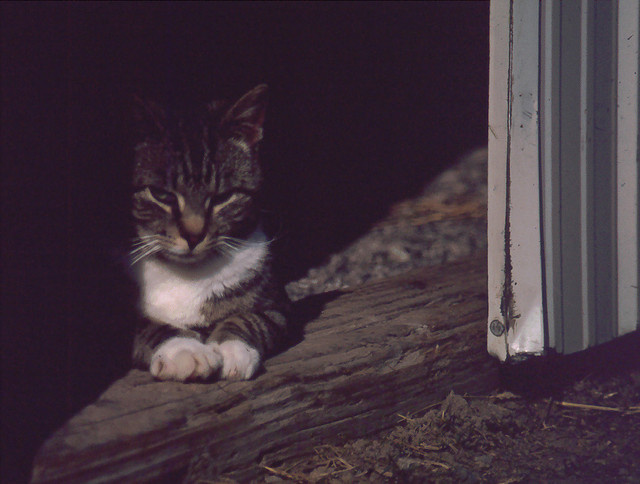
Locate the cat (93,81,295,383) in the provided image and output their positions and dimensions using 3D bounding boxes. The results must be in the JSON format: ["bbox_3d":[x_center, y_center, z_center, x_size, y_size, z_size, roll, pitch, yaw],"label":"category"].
[{"bbox_3d":[-0.708,0.039,3.898,1.095,1.557,0.775,-5,-25,-12],"label":"cat"}]
